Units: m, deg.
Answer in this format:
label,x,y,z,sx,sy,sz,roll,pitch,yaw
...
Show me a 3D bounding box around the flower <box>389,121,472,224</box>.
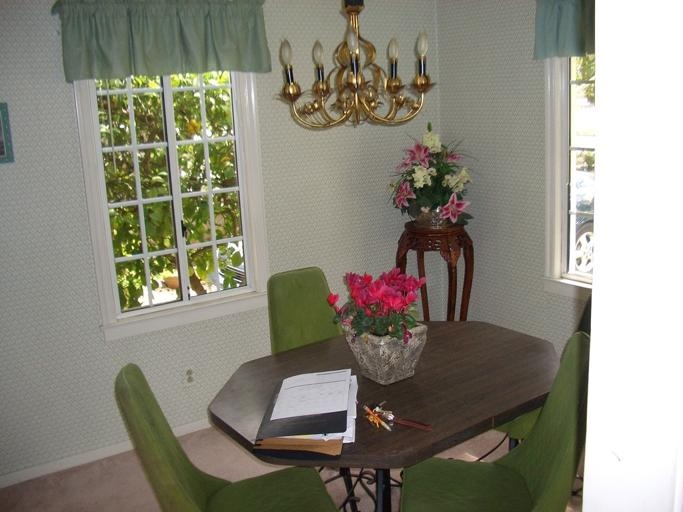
label,x,y,z,sx,sy,sz,roll,pitch,yaw
flower,0.594,-0.533,3.774,0.548,0.689,0.629,-5,6,-25
